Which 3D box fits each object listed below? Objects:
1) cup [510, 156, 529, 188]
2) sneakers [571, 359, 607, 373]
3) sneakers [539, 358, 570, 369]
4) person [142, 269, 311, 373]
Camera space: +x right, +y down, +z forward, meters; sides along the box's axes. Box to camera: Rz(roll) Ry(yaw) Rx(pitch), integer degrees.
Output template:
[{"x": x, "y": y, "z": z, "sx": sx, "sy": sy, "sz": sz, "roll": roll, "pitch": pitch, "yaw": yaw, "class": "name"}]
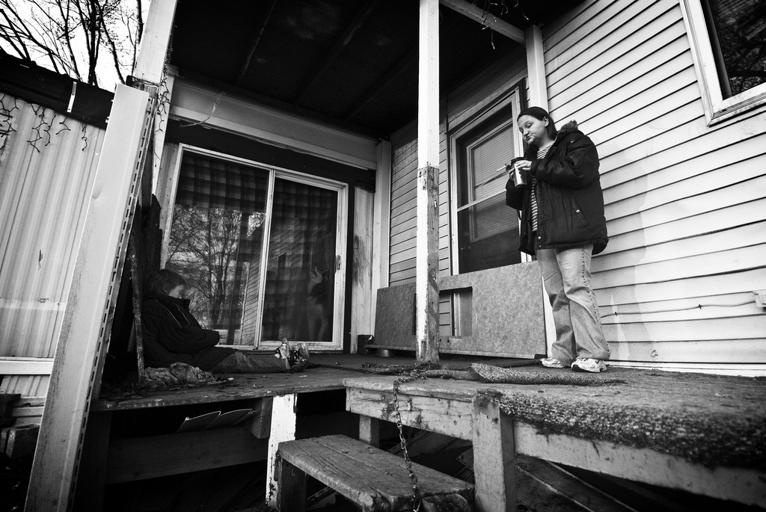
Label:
[{"x": 1.252, "y": -0.749, "z": 4.435, "sx": 0.186, "sy": 0.268, "sz": 0.192, "roll": 1, "pitch": -30, "yaw": 0, "class": "cup"}, {"x": 1.677, "y": 0.883, "z": 3.891, "sx": 0.280, "sy": 0.110, "sz": 0.334, "roll": -4, "pitch": -10, "yaw": 13, "class": "sneakers"}, {"x": 1.529, "y": 0.971, "z": 4.327, "sx": 0.200, "sy": 0.095, "sz": 0.087, "roll": 15, "pitch": -20, "yaw": 21, "class": "sneakers"}, {"x": -1.514, "y": 0.767, "z": 4.814, "sx": 1.636, "sy": 1.039, "sz": 0.780, "roll": 7, "pitch": -23, "yaw": -11, "class": "person"}]
